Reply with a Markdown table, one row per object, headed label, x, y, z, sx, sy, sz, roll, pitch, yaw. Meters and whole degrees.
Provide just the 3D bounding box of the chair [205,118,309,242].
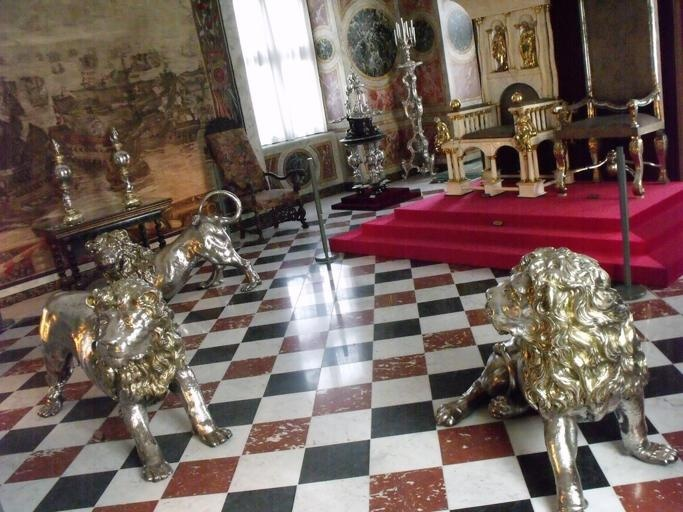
| label | x | y | z | sx | sy | sz | roll | pitch | yaw |
| --- | --- | --- | --- | --- | --- | --- | --- | --- | --- |
| chair | -1.090 | -1.081 | 6.808 | 0.969 | 1.457 | 1.239 | -20 | 21 | -23 |
